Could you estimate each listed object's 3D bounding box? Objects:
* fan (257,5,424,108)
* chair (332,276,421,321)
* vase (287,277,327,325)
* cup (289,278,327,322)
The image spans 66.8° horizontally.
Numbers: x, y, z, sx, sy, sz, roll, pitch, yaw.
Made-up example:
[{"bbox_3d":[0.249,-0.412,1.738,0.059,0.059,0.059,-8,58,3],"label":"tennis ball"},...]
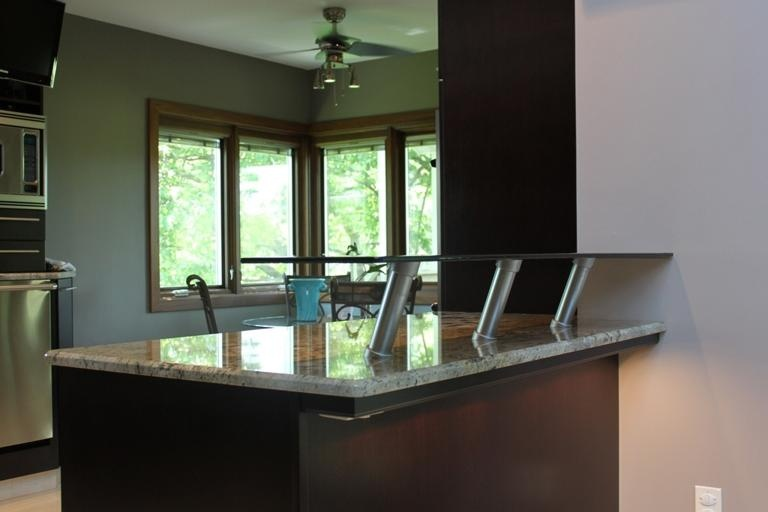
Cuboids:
[{"bbox_3d":[-0.399,-1.732,5.084,0.967,0.506,0.987,3,-9,-31],"label":"fan"},{"bbox_3d":[-0.152,0.256,3.799,0.356,0.242,0.463,0,0,-20],"label":"chair"},{"bbox_3d":[-0.498,0.268,3.771,0.280,0.298,0.263,0,7,-9],"label":"vase"},{"bbox_3d":[-0.488,0.268,3.697,0.259,0.274,0.266,-1,0,0],"label":"cup"}]
